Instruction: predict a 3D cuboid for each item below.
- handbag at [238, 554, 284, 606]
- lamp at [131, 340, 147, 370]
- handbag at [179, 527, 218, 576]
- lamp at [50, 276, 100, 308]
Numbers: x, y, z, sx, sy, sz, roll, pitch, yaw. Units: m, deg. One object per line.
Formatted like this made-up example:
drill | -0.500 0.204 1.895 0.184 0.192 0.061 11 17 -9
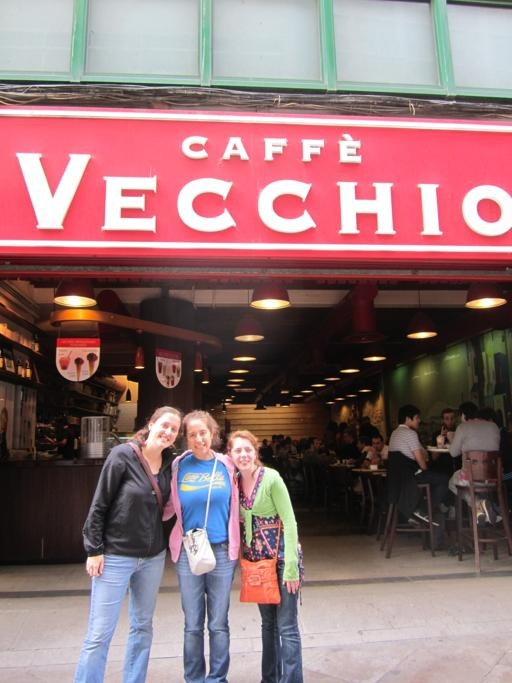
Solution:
handbag | 0.031 1.152 2.923 0.250 0.254 0.121 -6 -36 9
lamp | -1.461 0.168 7.551 0.120 0.371 0.589 1 -10 -10
handbag | -0.272 1.011 2.893 0.159 0.190 0.105 -29 -34 13
lamp | -1.611 -0.454 5.374 0.327 0.204 0.302 5 -11 -32
